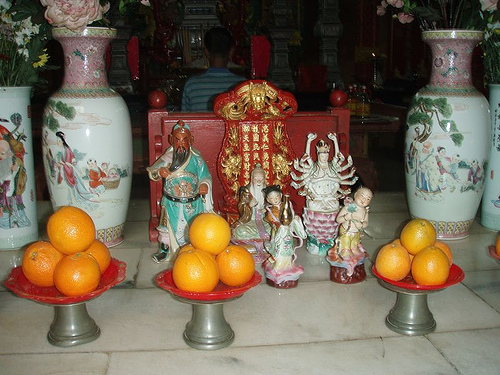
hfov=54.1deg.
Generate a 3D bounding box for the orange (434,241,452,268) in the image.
[{"bbox_3d":[0.949,0.323,2.385,0.101,0.118,0.102,-2,13,41],"label":"orange"}]

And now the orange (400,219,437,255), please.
[{"bbox_3d":[0.819,0.238,2.386,0.169,0.194,0.162,3,1,4],"label":"orange"}]

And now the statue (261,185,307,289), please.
[{"bbox_3d":[0.189,0.255,2.776,0.246,0.558,0.431,0,15,6],"label":"statue"}]

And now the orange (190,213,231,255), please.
[{"bbox_3d":[-0.179,0.212,2.279,0.187,0.168,0.179,4,42,0],"label":"orange"}]

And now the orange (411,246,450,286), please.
[{"bbox_3d":[0.789,0.345,2.253,0.166,0.190,0.159,-6,3,8],"label":"orange"}]

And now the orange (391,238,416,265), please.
[{"bbox_3d":[0.752,0.309,2.428,0.095,0.110,0.094,-4,-14,-8],"label":"orange"}]

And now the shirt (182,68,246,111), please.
[{"bbox_3d":[-0.340,-0.873,4.406,0.556,0.379,0.418,-4,15,-7],"label":"shirt"}]

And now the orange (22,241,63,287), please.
[{"bbox_3d":[-0.925,0.373,2.183,0.191,0.213,0.184,1,10,-21],"label":"orange"}]

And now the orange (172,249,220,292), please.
[{"bbox_3d":[-0.236,0.352,2.100,0.177,0.162,0.165,-1,-8,-3],"label":"orange"}]

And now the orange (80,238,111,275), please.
[{"bbox_3d":[-0.684,0.309,2.224,0.144,0.166,0.141,-9,-15,-7],"label":"orange"}]

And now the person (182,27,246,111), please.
[{"bbox_3d":[-0.338,-1.058,4.429,0.462,0.727,0.460,-12,19,-34],"label":"person"}]

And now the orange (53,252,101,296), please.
[{"bbox_3d":[-0.720,0.358,2.048,0.179,0.168,0.168,-3,-9,3],"label":"orange"}]

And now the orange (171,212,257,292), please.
[{"bbox_3d":[-0.157,0.297,2.146,0.351,0.291,0.310,-1,15,1],"label":"orange"}]
